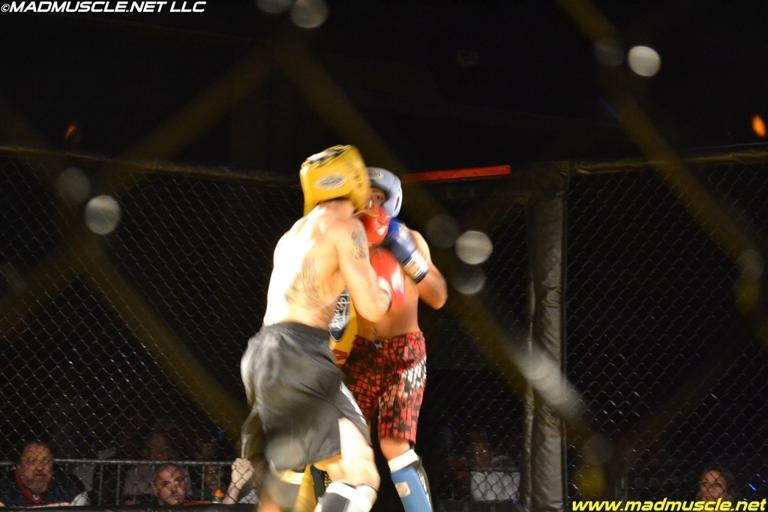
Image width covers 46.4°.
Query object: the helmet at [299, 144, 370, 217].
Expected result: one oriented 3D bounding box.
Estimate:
[{"bbox_3d":[-0.381,-0.553,6.376,0.514,0.525,0.449,-7,21,7],"label":"helmet"}]
